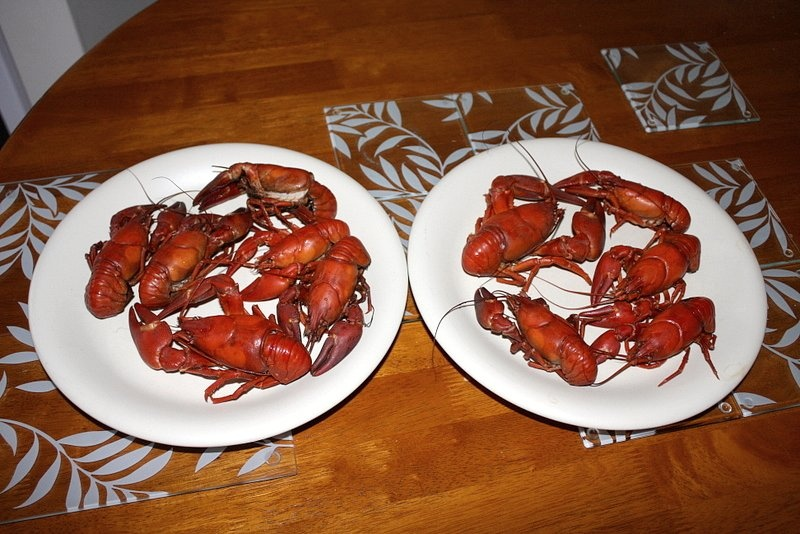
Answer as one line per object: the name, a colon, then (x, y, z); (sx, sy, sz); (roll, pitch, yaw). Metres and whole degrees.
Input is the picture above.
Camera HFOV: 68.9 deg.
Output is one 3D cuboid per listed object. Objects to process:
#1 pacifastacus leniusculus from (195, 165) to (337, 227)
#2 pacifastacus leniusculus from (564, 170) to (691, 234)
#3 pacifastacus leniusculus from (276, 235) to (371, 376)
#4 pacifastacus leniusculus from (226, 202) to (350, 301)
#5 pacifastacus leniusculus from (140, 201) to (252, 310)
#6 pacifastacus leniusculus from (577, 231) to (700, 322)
pacifastacus leniusculus: (-0.601, -0.347, 2.721); (0.537, 0.141, 0.322); (10, 46, -3)
pacifastacus leniusculus: (1.114, -0.339, 2.904); (0.594, 0.168, 0.278); (13, 50, 7)
pacifastacus leniusculus: (-0.301, 0.196, 2.585); (0.401, 0.162, 0.597); (16, 65, 21)
pacifastacus leniusculus: (-0.510, -0.065, 2.755); (0.668, 0.154, 0.387); (-36, 40, 0)
pacifastacus leniusculus: (-0.948, -0.033, 2.707); (0.385, 0.117, 0.470); (26, 70, 15)
pacifastacus leniusculus: (1.159, 0.056, 2.792); (0.604, 0.182, 0.359); (-41, 76, 5)
